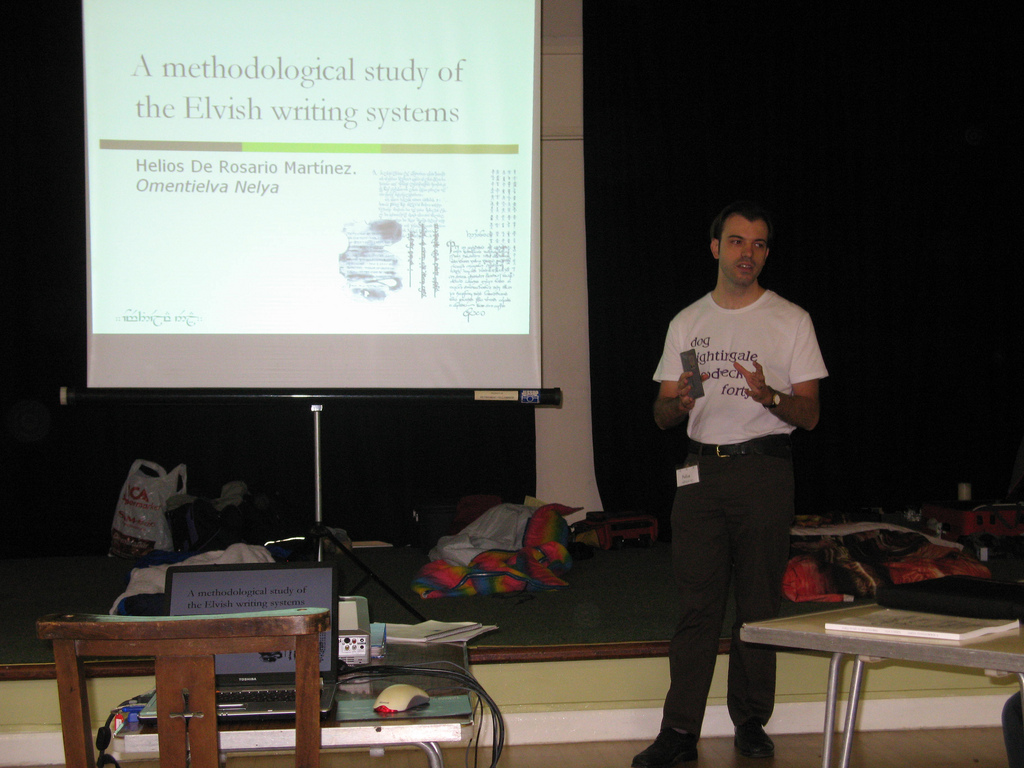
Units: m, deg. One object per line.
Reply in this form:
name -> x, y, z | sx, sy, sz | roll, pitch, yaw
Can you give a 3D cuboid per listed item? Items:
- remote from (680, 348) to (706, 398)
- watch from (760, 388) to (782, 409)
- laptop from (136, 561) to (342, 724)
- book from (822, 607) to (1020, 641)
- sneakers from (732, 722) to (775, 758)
remote -> 0.683, -0.039, 3.813 | 0.079, 0.178, 0.089 | 0, 5, 5
watch -> 0.958, 0.055, 3.708 | 0.058, 0.042, 0.071 | -3, -18, -12
laptop -> -0.746, 0.691, 2.887 | 0.441, 0.370, 0.395 | -1, -4, 1
book -> 1.120, 0.654, 2.746 | 0.507, 0.031, 0.265 | 1, 6, 19
sneakers -> 0.927, 1.383, 3.900 | 0.077, 0.078, 0.181 | -1, -3, -11
